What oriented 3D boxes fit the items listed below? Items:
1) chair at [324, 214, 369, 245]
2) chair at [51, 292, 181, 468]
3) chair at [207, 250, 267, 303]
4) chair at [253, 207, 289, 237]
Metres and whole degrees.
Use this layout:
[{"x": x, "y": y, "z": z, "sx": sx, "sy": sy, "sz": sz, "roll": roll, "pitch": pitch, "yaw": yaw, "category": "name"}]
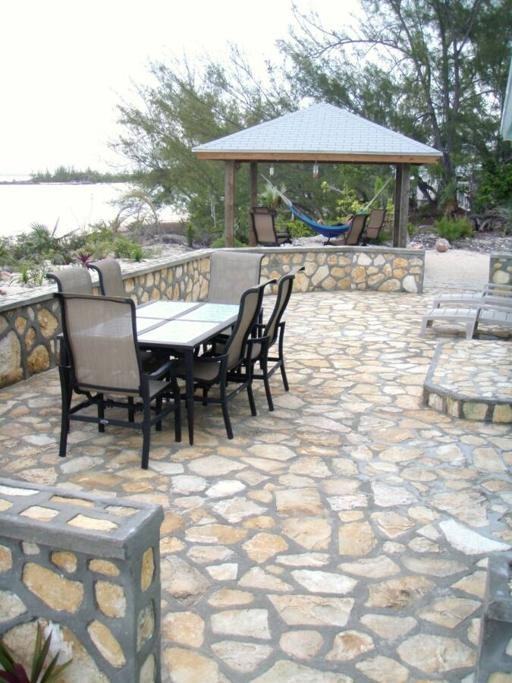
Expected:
[{"x": 1.962, "y": -2.359, "z": 11.069, "sx": 1.098, "sy": 0.721, "sz": 0.695, "roll": 5, "pitch": 18, "yaw": 36, "category": "chair"}, {"x": -0.851, "y": 0.176, "z": 3.278, "sx": 0.702, "sy": 1.041, "sz": 0.872, "roll": 3, "pitch": 13, "yaw": 14, "category": "chair"}, {"x": -0.189, "y": -0.632, "z": 5.112, "sx": 0.618, "sy": 0.630, "sz": 0.497, "roll": 5, "pitch": 9, "yaw": 8, "category": "chair"}, {"x": 0.139, "y": -2.422, "z": 10.516, "sx": 0.558, "sy": 0.640, "sz": 0.485, "roll": 6, "pitch": 14, "yaw": 27, "category": "chair"}]
